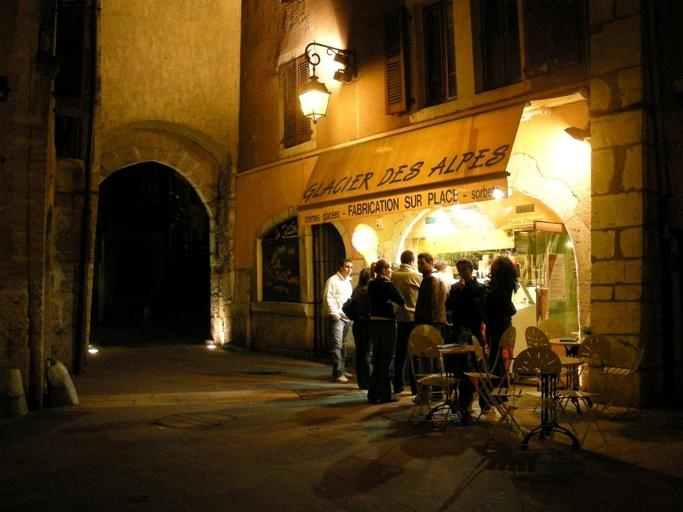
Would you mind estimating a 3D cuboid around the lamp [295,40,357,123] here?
[{"bbox_3d":[-0.273,-3.402,14.003,0.891,1.661,0.480,2,-6,-18],"label":"lamp"}]

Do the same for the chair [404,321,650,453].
[{"bbox_3d":[2.627,1.533,9.733,2.464,1.285,2.956,0,2,42],"label":"chair"}]

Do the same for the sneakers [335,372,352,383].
[{"bbox_3d":[0.083,2.118,12.510,0.372,0.124,0.168,-8,-21,19],"label":"sneakers"}]
